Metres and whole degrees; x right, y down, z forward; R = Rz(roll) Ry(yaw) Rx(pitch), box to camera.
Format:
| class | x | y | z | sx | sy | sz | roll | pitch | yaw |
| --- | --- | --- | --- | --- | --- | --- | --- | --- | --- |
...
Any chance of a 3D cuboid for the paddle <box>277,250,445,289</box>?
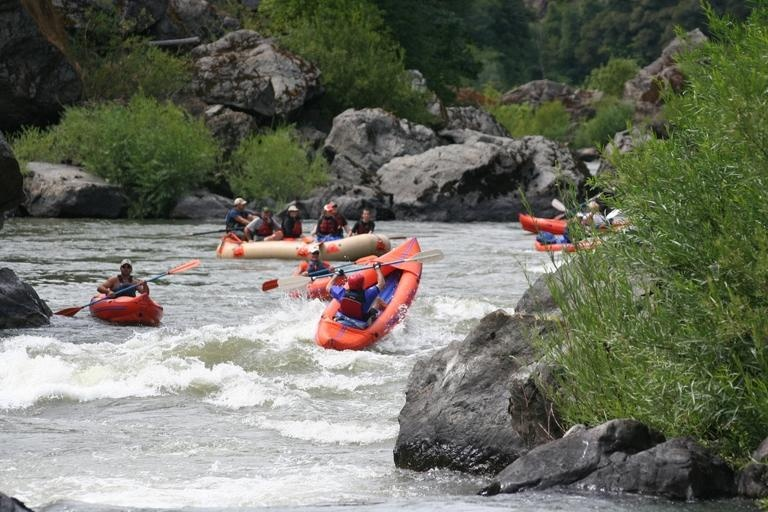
| class | x | y | z | sx | sy | sz | roll | pitch | yaw |
| --- | --- | --- | --- | --- | --- | --- | --- | --- | --- |
| paddle | -0.553 | 0.376 | 37.529 | 4.956 | 0.675 | 0.182 | -11 | -23 | 26 |

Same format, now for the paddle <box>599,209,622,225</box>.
| class | x | y | z | sx | sy | sz | roll | pitch | yaw |
| --- | --- | --- | --- | --- | --- | --- | --- | --- | --- |
| paddle | 4.910 | -0.862 | 28.916 | 0.297 | 0.119 | 0.498 | 14 | 24 | 21 |

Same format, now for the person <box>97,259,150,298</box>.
| class | x | y | z | sx | sy | sz | roll | pitch | yaw |
| --- | --- | --- | --- | --- | --- | --- | --- | --- | --- |
| person | -6.904 | 0.601 | 35.520 | 1.118 | 0.986 | 1.114 | 4 | 19 | -22 |

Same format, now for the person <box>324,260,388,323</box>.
| class | x | y | z | sx | sy | sz | roll | pitch | yaw |
| --- | --- | --- | --- | --- | --- | --- | --- | --- | --- |
| person | -0.707 | 1.037 | 34.839 | 0.897 | 0.922 | 1.723 | 2 | 16 | 7 |

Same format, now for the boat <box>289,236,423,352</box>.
| class | x | y | z | sx | sy | sz | roll | pitch | yaw |
| --- | --- | --- | --- | --- | --- | --- | --- | --- | --- |
| boat | 0.001 | 1.170 | 35.533 | 1.541 | 0.866 | 4.774 | 4 | 28 | 24 |

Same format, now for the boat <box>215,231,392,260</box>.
| class | x | y | z | sx | sy | sz | roll | pitch | yaw |
| --- | --- | --- | --- | --- | --- | --- | --- | --- | --- |
| boat | -2.503 | -0.254 | 41.807 | 4.036 | 0.799 | 1.872 | -1 | 1 | 7 |
